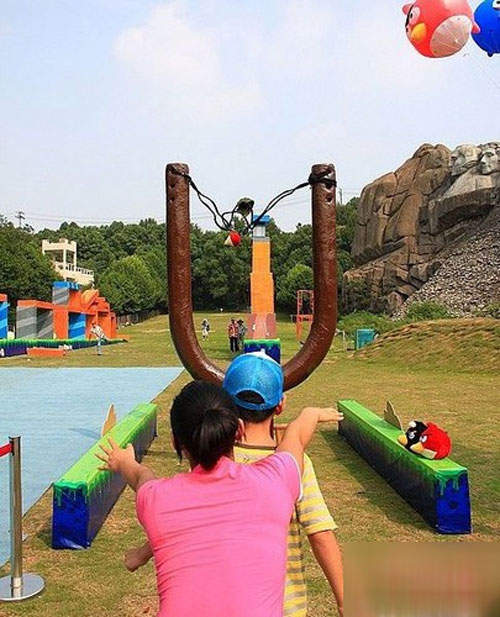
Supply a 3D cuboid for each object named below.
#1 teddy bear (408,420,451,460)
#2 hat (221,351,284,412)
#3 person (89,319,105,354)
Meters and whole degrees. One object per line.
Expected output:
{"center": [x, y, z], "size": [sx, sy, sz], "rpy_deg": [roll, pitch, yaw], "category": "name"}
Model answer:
{"center": [1.329, 0.954, 4.244], "size": [0.243, 0.244, 0.413], "rpy_deg": [2, -1, -13], "category": "teddy bear"}
{"center": [0.017, 0.214, 1.726], "size": [0.127, 0.115, 0.194], "rpy_deg": [4, 27, 4], "category": "hat"}
{"center": [-6.185, 1.125, 22.779], "size": [0.708, 1.713, 0.593], "rpy_deg": [-6, -13, 17], "category": "person"}
